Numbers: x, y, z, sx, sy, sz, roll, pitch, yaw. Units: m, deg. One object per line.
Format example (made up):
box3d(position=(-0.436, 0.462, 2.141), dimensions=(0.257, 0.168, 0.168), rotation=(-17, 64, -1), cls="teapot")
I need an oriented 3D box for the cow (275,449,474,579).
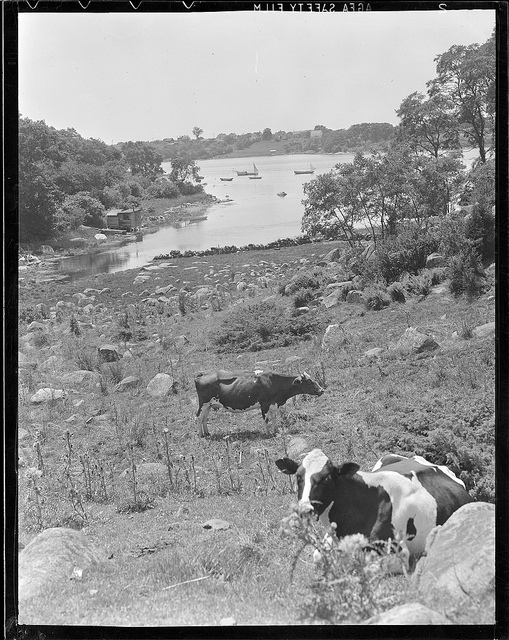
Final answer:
box3d(position=(0.938, 1.422, 4.922), dimensions=(1.198, 0.981, 0.864), rotation=(4, -9, -18), cls="cow")
